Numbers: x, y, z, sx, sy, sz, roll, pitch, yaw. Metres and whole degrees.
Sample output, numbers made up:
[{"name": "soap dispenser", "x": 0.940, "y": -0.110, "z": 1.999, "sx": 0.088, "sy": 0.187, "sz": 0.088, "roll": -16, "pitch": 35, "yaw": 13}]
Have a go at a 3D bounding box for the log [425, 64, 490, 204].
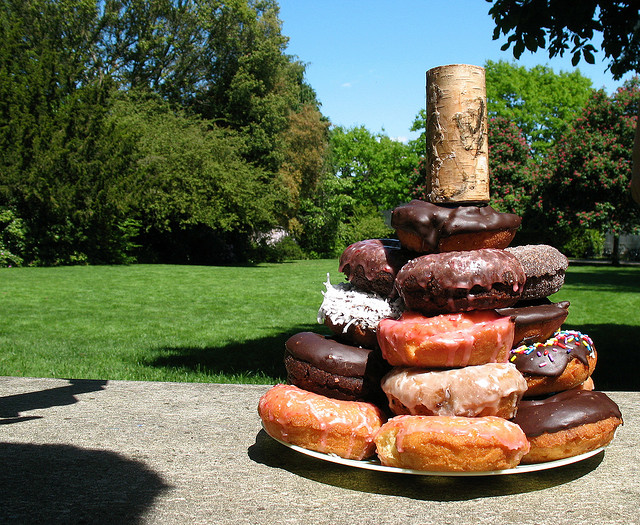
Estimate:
[{"name": "log", "x": 1.269, "y": -1.161, "z": 7.059, "sx": 0.582, "sy": 1.250, "sz": 0.240, "roll": 1, "pitch": 2, "yaw": 7}]
